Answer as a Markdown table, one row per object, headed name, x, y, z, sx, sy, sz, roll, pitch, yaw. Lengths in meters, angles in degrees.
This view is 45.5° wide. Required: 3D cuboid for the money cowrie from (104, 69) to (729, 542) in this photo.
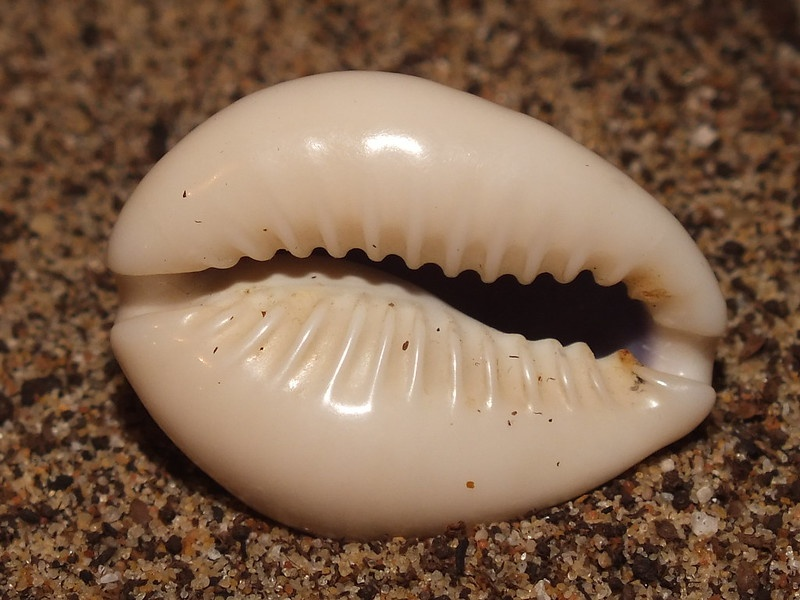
| name | x | y | z | sx | sy | sz | roll | pitch | yaw |
| --- | --- | --- | --- | --- | --- | --- | --- | --- | --- |
| money cowrie | 0.031 | 0.001 | 1.770 | 1.062 | 0.469 | 0.855 | 8 | 73 | 5 |
